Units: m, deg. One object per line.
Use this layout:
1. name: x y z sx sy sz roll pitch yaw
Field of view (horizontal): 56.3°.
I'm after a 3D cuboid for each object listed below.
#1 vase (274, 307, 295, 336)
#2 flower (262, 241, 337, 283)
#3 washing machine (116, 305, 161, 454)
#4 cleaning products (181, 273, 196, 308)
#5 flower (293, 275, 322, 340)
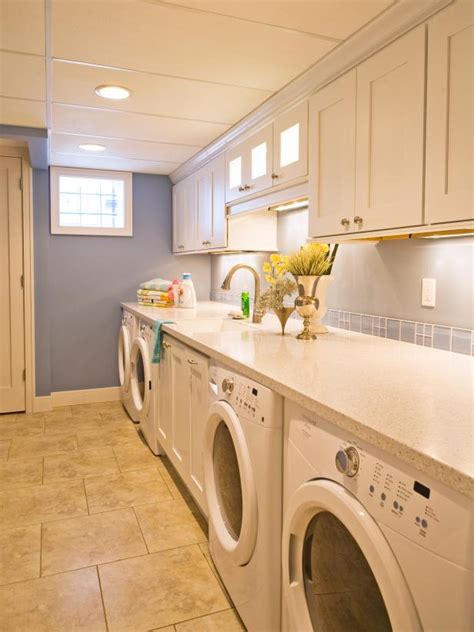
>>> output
1. vase: 0.205 0.029 2.079 0.091 0.158 0.110 0 -2 -9
2. flower: 0.295 -0.227 2.090 0.217 0.181 0.317 -28 22 -36
3. washing machine: -0.714 0.473 3.219 0.346 0.896 0.766 1 4 -20
4. cleaning products: -0.413 -0.205 3.611 0.132 0.277 0.129 -1 4 -27
5. flower: 0.321 -0.045 2.039 0.106 0.282 0.312 1 3 12
